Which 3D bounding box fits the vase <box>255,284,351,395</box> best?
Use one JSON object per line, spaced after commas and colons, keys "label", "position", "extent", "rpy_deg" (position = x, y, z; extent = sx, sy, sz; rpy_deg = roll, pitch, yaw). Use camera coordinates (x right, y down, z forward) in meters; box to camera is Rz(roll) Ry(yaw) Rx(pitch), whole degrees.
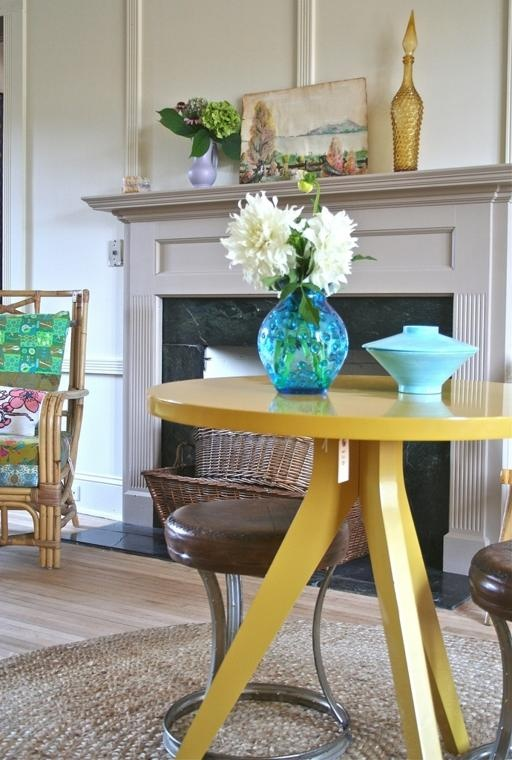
{"label": "vase", "position": [0.082, -0.064, 1.129], "extent": [0.159, 0.161, 0.150], "rpy_deg": [-1, 3, -9]}

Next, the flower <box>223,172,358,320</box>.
{"label": "flower", "position": [0.060, -0.202, 1.080], "extent": [0.176, 0.218, 0.161], "rpy_deg": [-1, 1, -41]}

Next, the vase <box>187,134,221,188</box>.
{"label": "vase", "position": [-0.229, -0.922, 2.863], "extent": [0.122, 0.260, 0.302], "rpy_deg": [0, 1, -3]}

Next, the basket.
{"label": "basket", "position": [-0.086, 0.434, 2.615], "extent": [0.738, 0.310, 0.535], "rpy_deg": [-3, -5, 34]}
